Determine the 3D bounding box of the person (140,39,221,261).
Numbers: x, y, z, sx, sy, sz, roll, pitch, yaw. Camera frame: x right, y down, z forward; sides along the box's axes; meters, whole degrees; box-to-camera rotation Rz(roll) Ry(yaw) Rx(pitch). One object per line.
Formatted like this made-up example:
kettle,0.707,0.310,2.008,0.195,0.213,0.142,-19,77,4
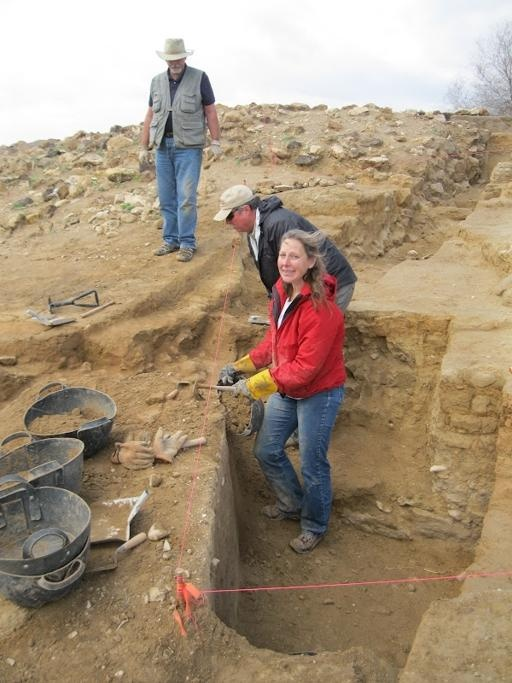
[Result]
person,-0.645,-1.644,5.478,0.606,1.878,0.813,-6,22,-22

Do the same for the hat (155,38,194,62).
hat,-0.670,-2.380,4.950,0.280,0.154,0.274,2,19,-1

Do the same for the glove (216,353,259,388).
glove,-0.101,0.170,3.797,0.167,0.252,0.082,36,45,-17

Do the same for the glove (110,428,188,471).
glove,-0.585,0.591,3.415,0.362,0.144,0.337,6,19,10

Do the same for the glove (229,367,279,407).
glove,0.016,0.251,3.427,0.266,0.157,0.102,-14,-1,19

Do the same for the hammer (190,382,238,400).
hammer,-0.279,0.299,3.841,0.266,0.105,0.131,-1,51,17
